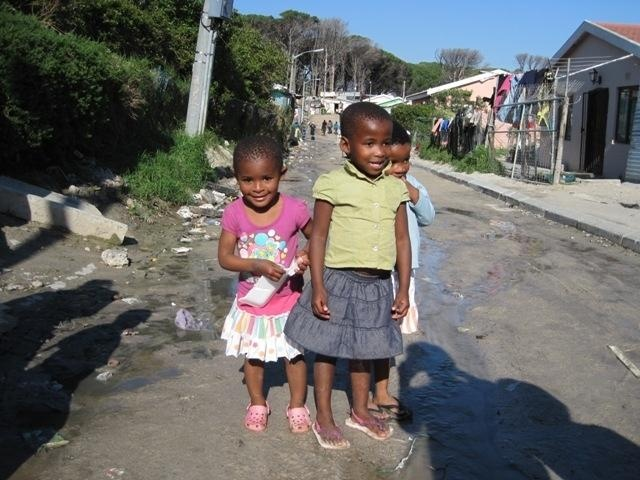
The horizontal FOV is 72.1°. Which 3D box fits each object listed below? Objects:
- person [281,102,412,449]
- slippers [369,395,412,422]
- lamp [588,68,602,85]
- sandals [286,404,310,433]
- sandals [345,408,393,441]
[{"bbox_3d":[0.185,0.211,2.522,0.759,1.935,0.500,0,14,-8],"label":"person"},{"bbox_3d":[0.451,1.077,2.853,0.218,0.079,0.123,1,9,26],"label":"slippers"},{"bbox_3d":[9.712,-5.712,15.447,0.234,0.528,0.554,2,14,0],"label":"lamp"},{"bbox_3d":[-0.125,1.070,2.680,0.093,0.058,0.164,-1,8,-5],"label":"sandals"},{"bbox_3d":[0.314,1.088,2.680,0.245,0.089,0.138,9,15,30],"label":"sandals"}]
